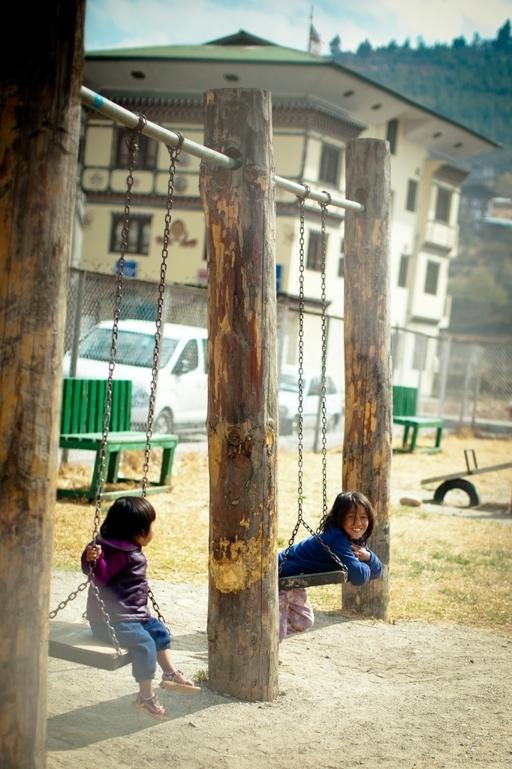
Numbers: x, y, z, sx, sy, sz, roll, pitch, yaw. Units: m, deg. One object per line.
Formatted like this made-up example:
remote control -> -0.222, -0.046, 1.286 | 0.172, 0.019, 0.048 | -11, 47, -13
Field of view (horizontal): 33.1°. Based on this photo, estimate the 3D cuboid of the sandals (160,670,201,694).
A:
sandals -> -0.325, 1.264, 3.633 | 0.195, 0.090, 0.066 | 9, 1, 4

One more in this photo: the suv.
suv -> -1.496, -0.169, 11.560 | 1.171, 1.140, 2.228 | 5, -3, 21

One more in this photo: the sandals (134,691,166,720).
sandals -> -0.405, 1.274, 3.443 | 0.133, 0.079, 0.062 | 32, 18, 3

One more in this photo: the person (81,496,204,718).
person -> -0.463, 0.891, 3.519 | 0.339, 0.765, 0.442 | 4, 1, 33

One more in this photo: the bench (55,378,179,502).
bench -> -1.259, 0.519, 8.041 | 0.551, 1.093, 1.627 | 6, 0, 14

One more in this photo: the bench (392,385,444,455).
bench -> 2.830, 0.644, 15.283 | 0.688, 1.166, 0.826 | 3, 3, 37
